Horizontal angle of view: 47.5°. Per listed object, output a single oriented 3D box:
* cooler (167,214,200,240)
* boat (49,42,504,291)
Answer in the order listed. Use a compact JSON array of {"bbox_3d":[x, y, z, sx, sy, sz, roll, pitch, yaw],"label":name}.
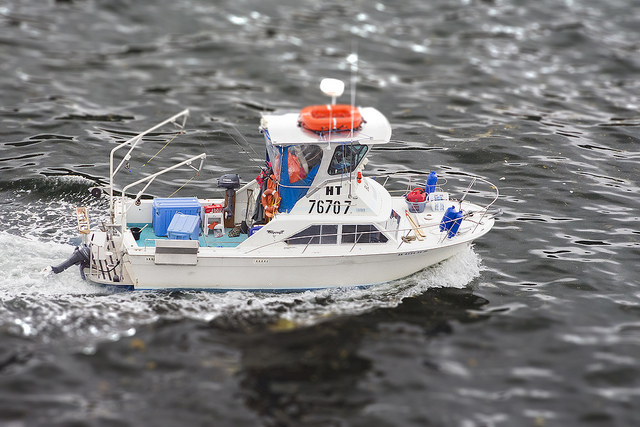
[{"bbox_3d":[-5.275,0.472,27.960,1.500,0.679,1.003,4,40,-1],"label":"cooler"},{"bbox_3d":[-1.526,-0.018,29.121,19.508,5.295,4.691,0,27,-17],"label":"boat"}]
